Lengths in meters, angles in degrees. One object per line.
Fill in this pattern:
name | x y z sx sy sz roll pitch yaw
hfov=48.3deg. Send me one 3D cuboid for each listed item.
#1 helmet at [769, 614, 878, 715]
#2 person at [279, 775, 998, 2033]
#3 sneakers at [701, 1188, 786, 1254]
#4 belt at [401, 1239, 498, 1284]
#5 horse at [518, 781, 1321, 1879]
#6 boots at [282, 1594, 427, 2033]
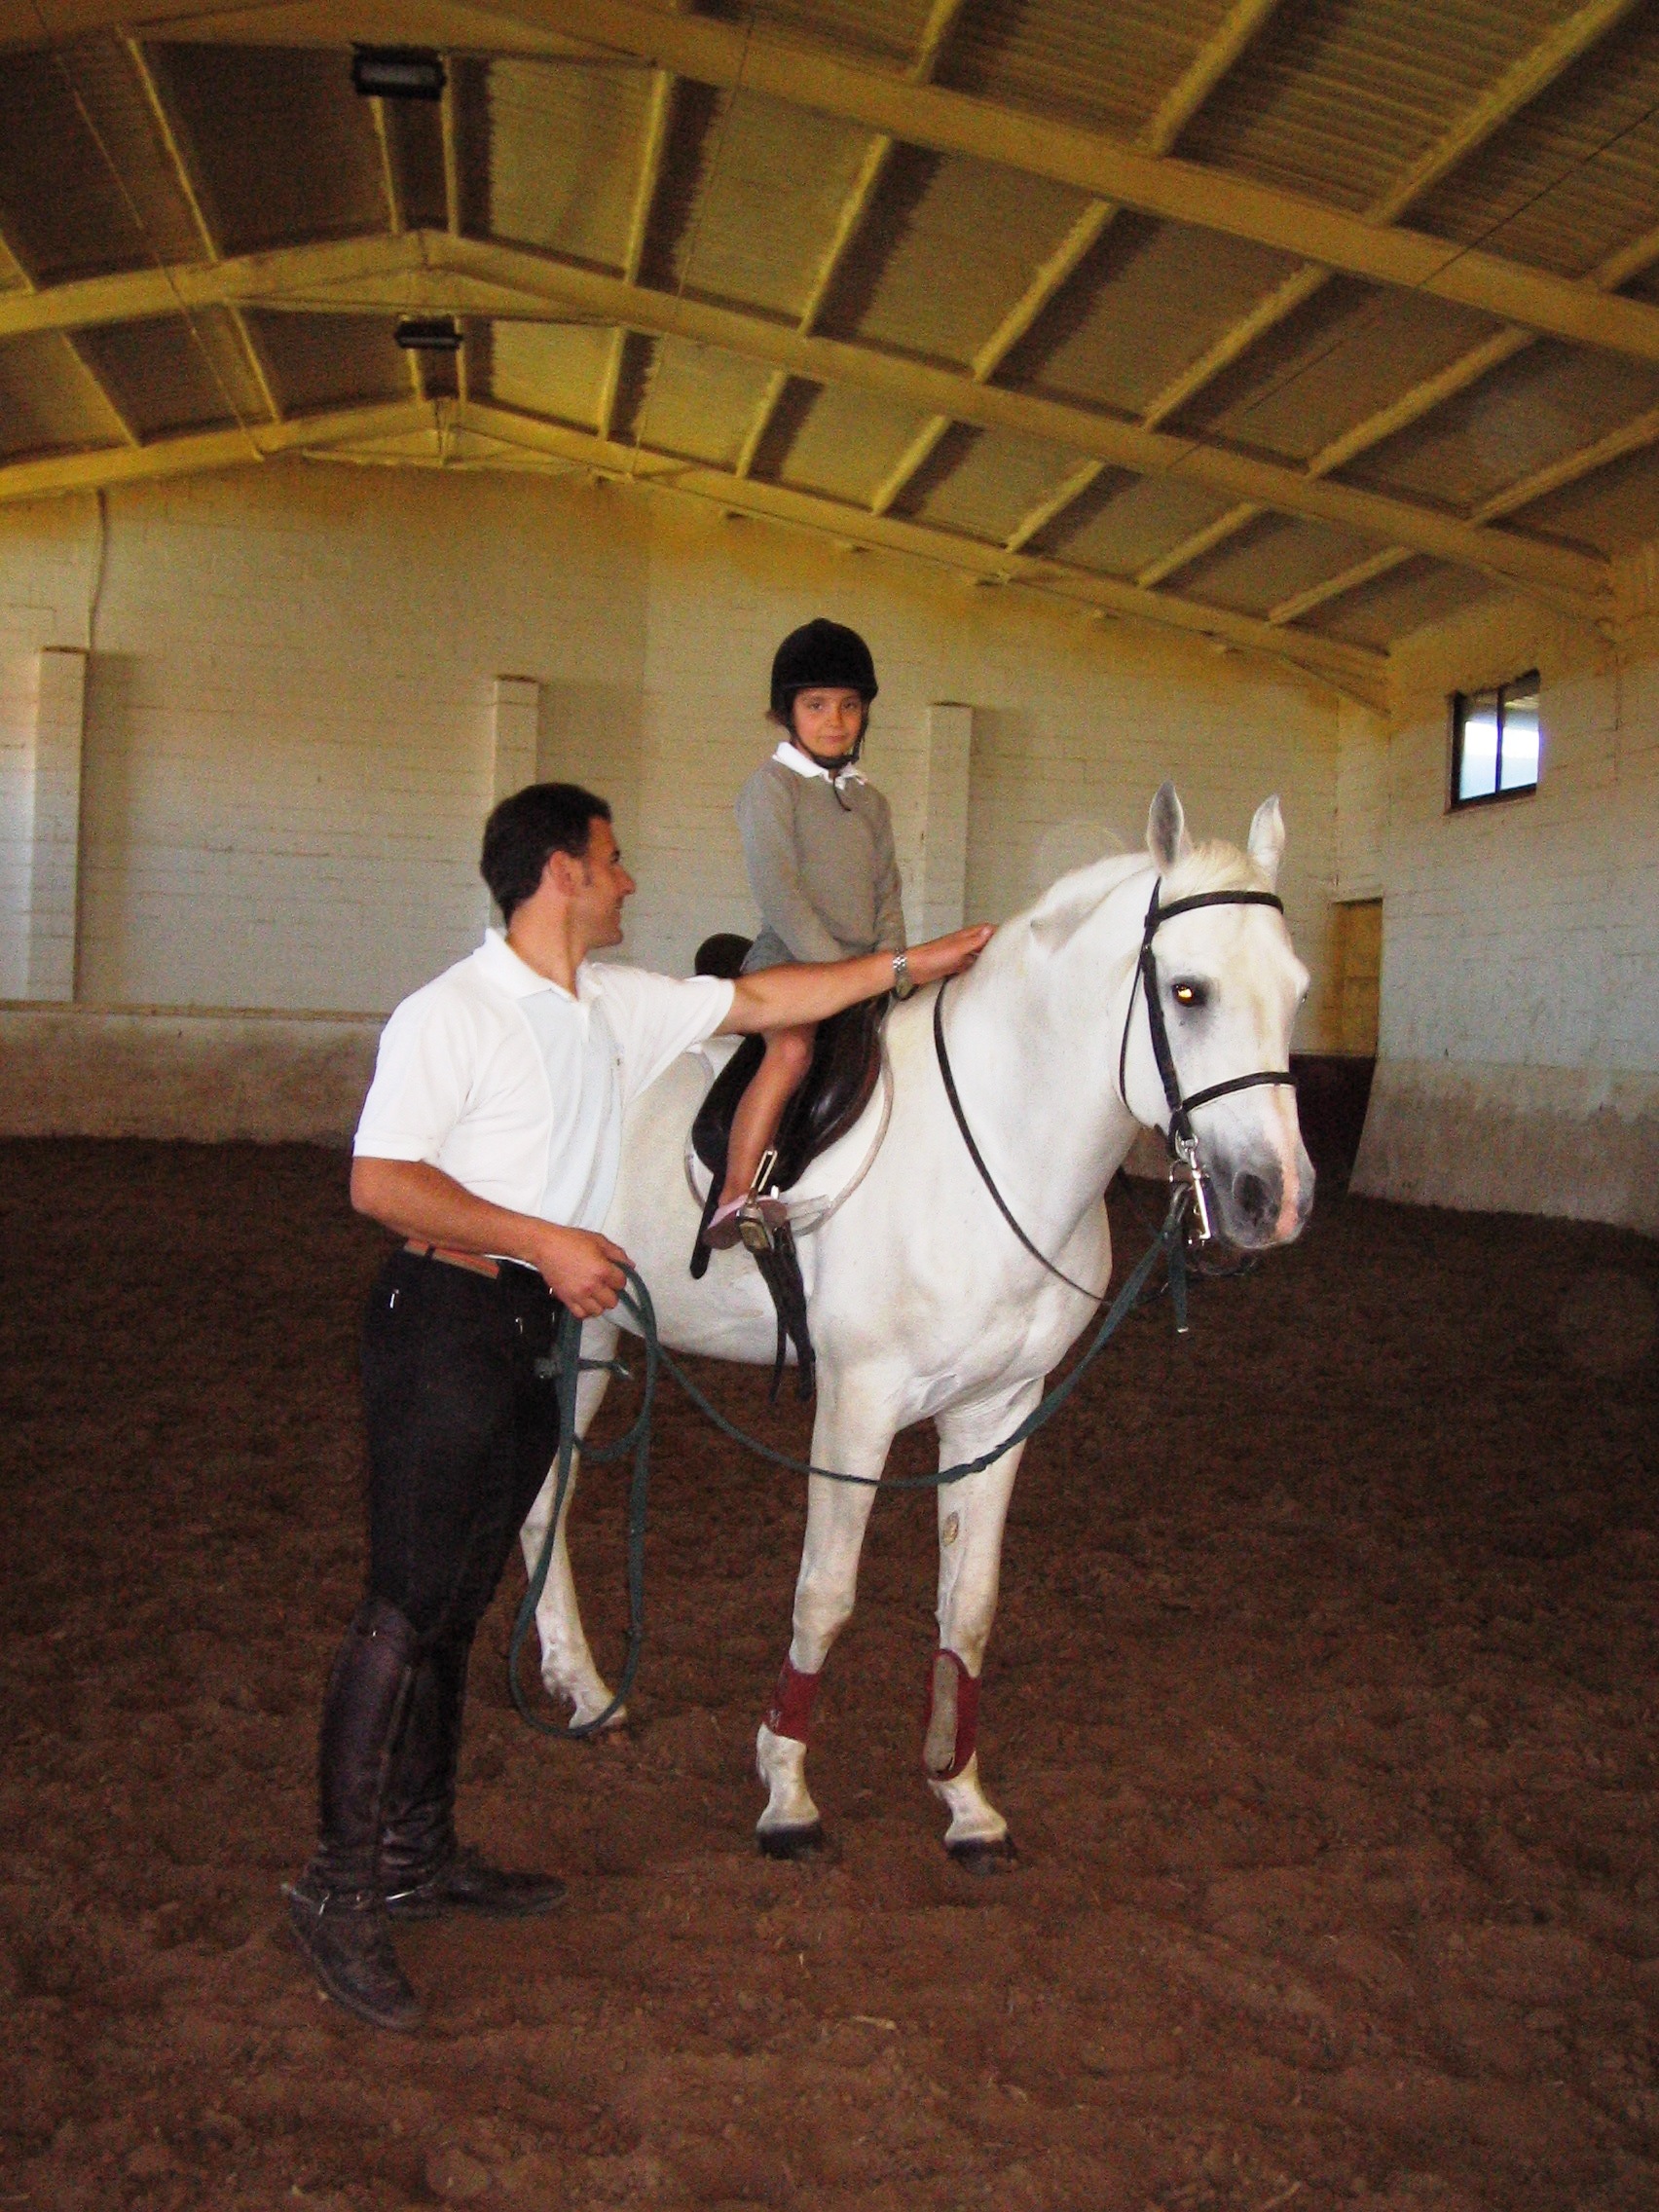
helmet | -0.006 -0.745 3.091 0.166 0.144 0.168 -1 0 -10
person | -0.351 0.332 2.353 0.504 1.460 0.658 4 5 10
sneakers | -0.114 0.163 2.624 0.068 0.077 0.120 34 -15 -30
belt | -0.447 0.183 2.173 0.115 0.040 0.031 3 5 1
horse | 0.140 0.379 2.841 0.540 1.412 1.810 8 -6 -23
boots | -0.554 0.816 2.166 0.140 0.473 0.214 2 5 -15
